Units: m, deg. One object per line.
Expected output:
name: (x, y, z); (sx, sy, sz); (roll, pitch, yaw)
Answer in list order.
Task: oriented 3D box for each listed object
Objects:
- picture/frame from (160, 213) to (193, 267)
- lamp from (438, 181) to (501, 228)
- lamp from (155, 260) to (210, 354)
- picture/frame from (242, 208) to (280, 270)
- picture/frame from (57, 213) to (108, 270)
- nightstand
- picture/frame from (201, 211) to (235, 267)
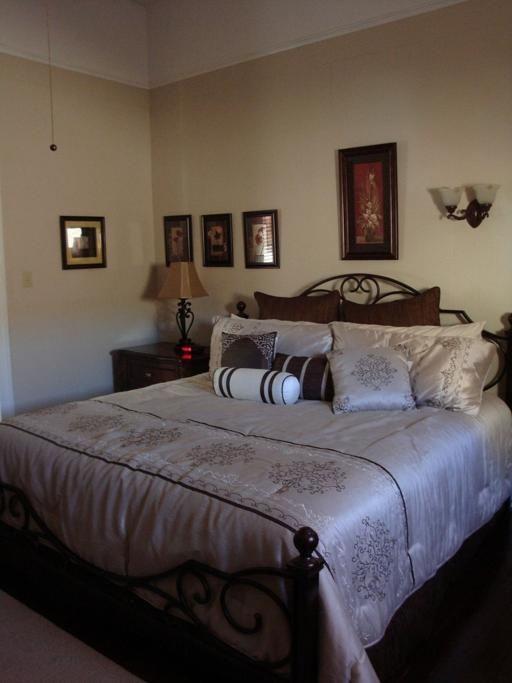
picture/frame: (-0.600, -0.785, 4.108); (0.418, 0.554, 0.057); (10, 17, 37)
lamp: (1.091, -0.681, 2.741); (0.290, 0.229, 0.250); (10, 19, 42)
lamp: (-0.523, -0.240, 3.849); (0.364, 0.639, 0.321); (-6, 12, -32)
picture/frame: (0.039, -0.700, 3.635); (0.390, 0.480, 0.055); (8, 16, 38)
picture/frame: (-1.229, -0.697, 3.757); (0.032, 0.402, 0.402); (6, 10, 35)
nightstand: (-0.663, 0.116, 3.775); (0.554, 0.538, 0.400); (6, 8, 42)
picture/frame: (-0.271, -0.747, 3.895); (0.373, 0.494, 0.051); (8, 15, 39)
